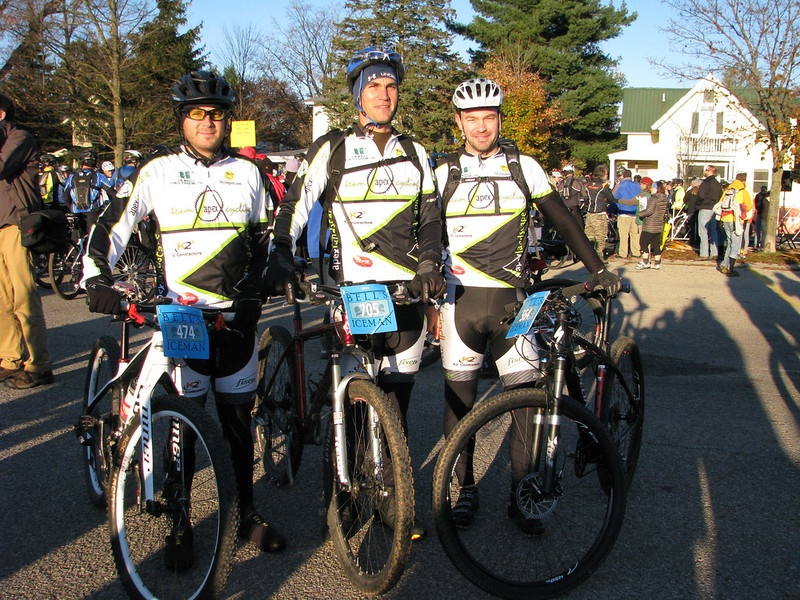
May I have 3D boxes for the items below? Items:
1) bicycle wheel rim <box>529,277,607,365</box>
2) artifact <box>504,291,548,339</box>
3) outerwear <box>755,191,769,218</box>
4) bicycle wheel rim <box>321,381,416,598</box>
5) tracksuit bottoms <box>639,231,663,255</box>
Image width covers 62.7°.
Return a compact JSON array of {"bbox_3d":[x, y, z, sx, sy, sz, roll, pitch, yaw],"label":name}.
[{"bbox_3d":[1.930,0.155,7.579,0.163,0.903,0.814,-38,54,-25],"label":"bicycle wheel rim"},{"bbox_3d":[0.762,0.078,3.856,0.203,0.251,0.228,5,13,19],"label":"artifact"},{"bbox_3d":[11.049,-2.942,19.956,0.271,0.855,0.594,10,7,10],"label":"outerwear"},{"bbox_3d":[-0.184,1.029,3.681,0.389,1.157,0.805,-3,12,-17],"label":"bicycle wheel rim"},{"bbox_3d":[5.962,-1.352,15.518,0.363,0.861,0.341,-13,7,5],"label":"tracksuit bottoms"}]
